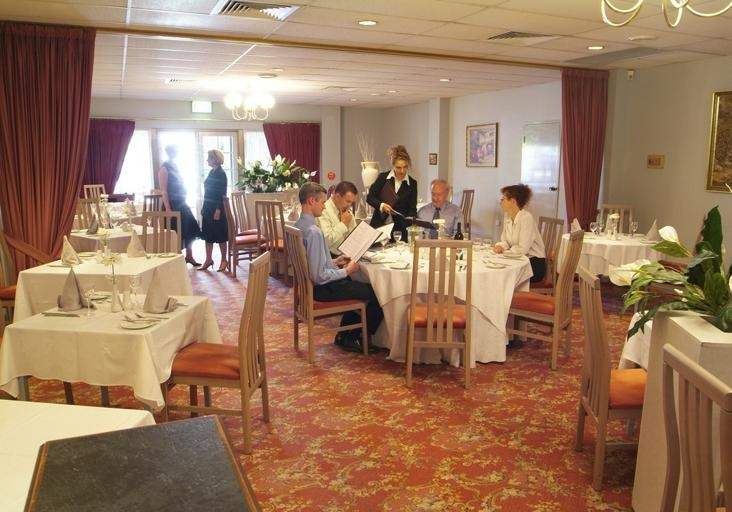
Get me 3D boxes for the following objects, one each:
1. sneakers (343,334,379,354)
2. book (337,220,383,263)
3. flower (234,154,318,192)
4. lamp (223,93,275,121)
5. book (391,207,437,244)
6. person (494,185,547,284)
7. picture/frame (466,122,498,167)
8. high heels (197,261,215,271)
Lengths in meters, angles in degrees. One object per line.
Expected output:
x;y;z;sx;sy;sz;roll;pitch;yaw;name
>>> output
-0.047;0.868;5.326;0.322;0.139;0.149;-1;1;13;sneakers
-0.056;-0.137;5.137;0.342;0.377;0.135;39;7;24;book
-1.951;-1.537;10.666;1.121;0.672;1.450;-3;5;-31;flower
-2.332;-2.914;10.538;0.833;0.435;0.855;-15;20;-42;lamp
0.528;-0.362;5.737;0.449;0.182;0.307;25;1;25;book
1.609;-0.144;5.794;0.634;1.177;0.525;1;4;10;person
2.357;-2.240;10.837;0.117;0.872;0.908;-7;11;-25;picture/frame
-2.652;0.162;8.951;0.323;0.152;0.111;6;8;29;high heels
